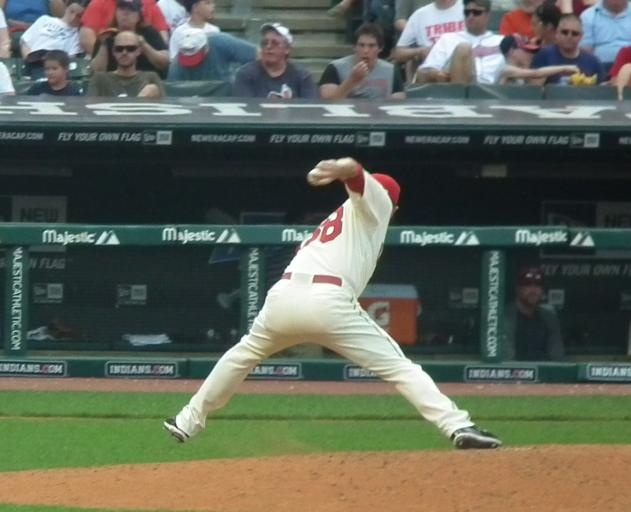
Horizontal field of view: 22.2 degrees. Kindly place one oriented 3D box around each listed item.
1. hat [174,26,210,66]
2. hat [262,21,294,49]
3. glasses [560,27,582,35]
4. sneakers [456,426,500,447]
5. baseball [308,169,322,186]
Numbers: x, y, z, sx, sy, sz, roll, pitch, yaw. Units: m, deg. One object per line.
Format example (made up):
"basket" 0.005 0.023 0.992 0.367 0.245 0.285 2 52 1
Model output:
"hat" -1.108 -1.878 14.551 0.307 0.338 0.271 1 -4 -13
"hat" -0.331 -1.949 14.134 0.226 0.186 0.342 -3 -5 42
"glasses" 2.378 -2.027 14.642 0.187 0.054 0.065 1 -4 -5
"sneakers" 1.119 1.269 11.224 0.359 0.152 0.126 3 -37 -7
"baseball" -0.003 -0.529 10.827 0.078 0.104 0.122 1 -4 -2
